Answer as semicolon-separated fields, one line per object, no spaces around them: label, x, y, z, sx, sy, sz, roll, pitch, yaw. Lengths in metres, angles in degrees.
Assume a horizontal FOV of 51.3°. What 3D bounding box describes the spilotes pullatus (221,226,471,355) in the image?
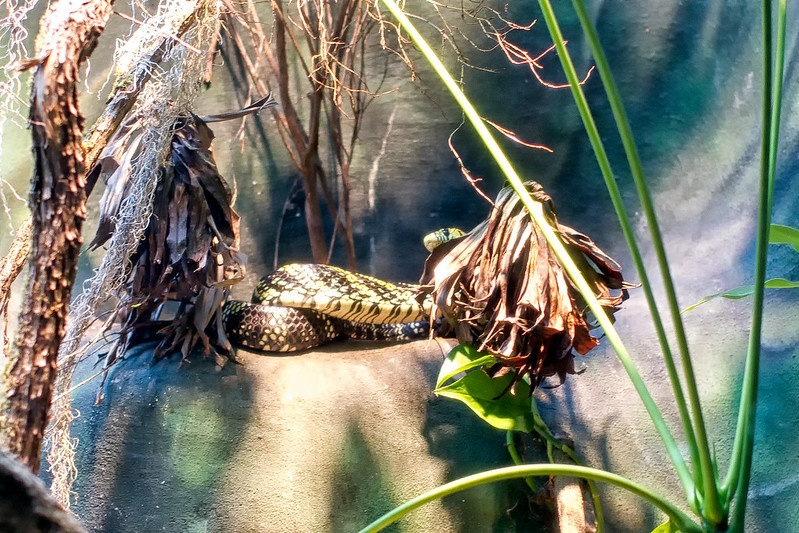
spilotes pullatus;-0.312;0.149;3.714;0.834;0.310;0.585;2;-9;-37
